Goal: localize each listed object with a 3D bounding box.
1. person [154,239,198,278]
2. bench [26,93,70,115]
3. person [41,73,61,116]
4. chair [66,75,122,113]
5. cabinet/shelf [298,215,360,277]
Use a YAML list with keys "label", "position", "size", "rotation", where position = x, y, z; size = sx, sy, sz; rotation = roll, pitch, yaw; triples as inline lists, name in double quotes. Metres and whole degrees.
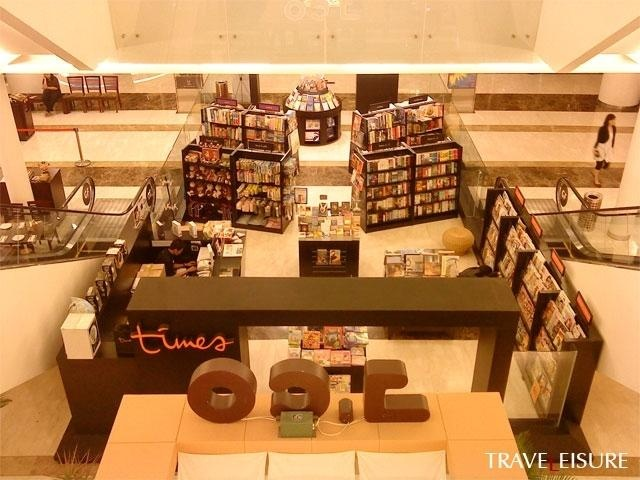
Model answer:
- label: "person"
  position: [-2.896, 0.340, 9.582]
  size: [0.780, 0.788, 0.717]
  rotation: [1, 14, -4]
- label: "bench"
  position: [-9.461, -4.708, 16.389]
  size: [1.285, 0.568, 0.919]
  rotation: [-1, 46, -6]
- label: "person"
  position: [-9.229, -5.012, 16.190]
  size: [0.597, 1.334, 0.690]
  rotation: [-6, 16, -28]
- label: "chair"
  position: [-7.955, -5.093, 16.348]
  size: [1.840, 1.326, 1.198]
  rotation: [-1, 15, -11]
- label: "cabinet/shelf"
  position: [0.194, 0.095, 10.545]
  size: [1.297, 1.330, 1.353]
  rotation: [-1, 42, 2]
